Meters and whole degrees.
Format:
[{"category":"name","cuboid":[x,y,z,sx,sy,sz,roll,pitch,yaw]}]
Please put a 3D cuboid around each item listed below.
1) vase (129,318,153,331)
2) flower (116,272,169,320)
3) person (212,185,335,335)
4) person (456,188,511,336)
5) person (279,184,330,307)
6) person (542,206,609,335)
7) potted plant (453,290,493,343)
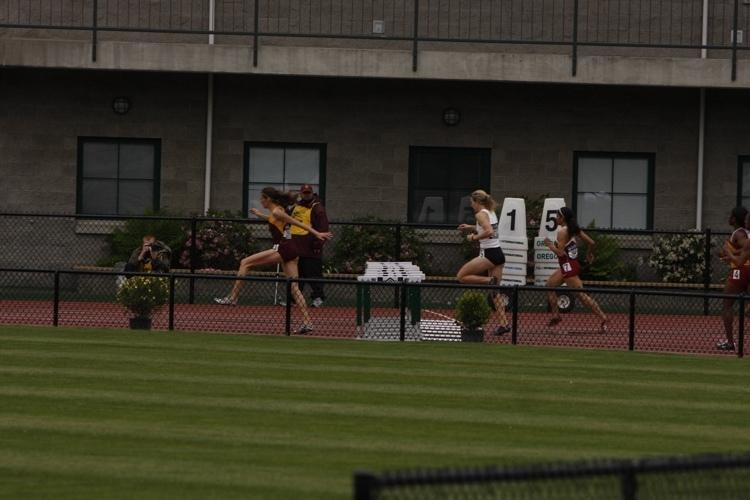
[{"category":"vase","cuboid":[-3.789,1.168,22.164,0.364,0.226,0.193,2,5,6]},{"category":"flower","cuboid":[-3.713,0.729,22.023,0.793,0.665,0.345,2,1,-8]},{"category":"person","cuboid":[-1.673,-0.088,22.516,1.471,2.572,0.920,0,0,0]},{"category":"person","cuboid":[1.790,0.192,23.299,1.202,2.405,0.822,0,-6,28]},{"category":"person","cuboid":[-1.152,-0.156,24.256,0.763,1.985,0.628,-1,-2,-6]},{"category":"person","cuboid":[3.476,0.339,23.245,1.233,2.101,1.066,-5,-10,43]},{"category":"potted plant","cuboid":[1.569,1.064,21.975,0.511,0.811,0.441,1,2,0]}]
